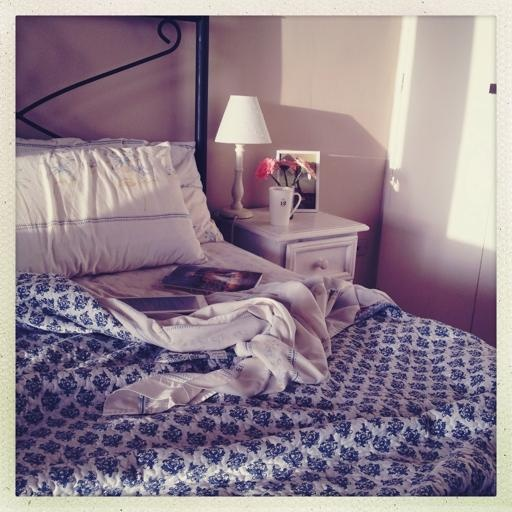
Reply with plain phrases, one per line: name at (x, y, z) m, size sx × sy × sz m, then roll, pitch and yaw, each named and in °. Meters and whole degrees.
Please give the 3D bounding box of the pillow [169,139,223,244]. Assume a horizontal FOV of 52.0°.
pillow at (-0.242, -0.249, 2.094) m, size 0.101 × 0.349 × 0.315 m, roll -13°, pitch -2°, yaw 26°

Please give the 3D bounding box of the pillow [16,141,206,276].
pillow at (-0.484, -0.132, 1.623) m, size 0.578 × 0.431 × 0.168 m, roll -5°, pitch -14°, yaw -38°

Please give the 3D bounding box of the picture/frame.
picture/frame at (0.189, -0.344, 2.415) m, size 0.228 × 0.279 × 0.010 m, roll -2°, pitch 9°, yaw -19°

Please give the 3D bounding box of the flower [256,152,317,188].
flower at (0.125, -0.383, 2.320) m, size 0.188 × 0.085 × 0.180 m, roll 3°, pitch -2°, yaw -17°

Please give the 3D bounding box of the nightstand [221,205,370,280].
nightstand at (0.184, -0.089, 2.350) m, size 0.425 × 0.506 × 0.385 m, roll -11°, pitch 21°, yaw -36°
